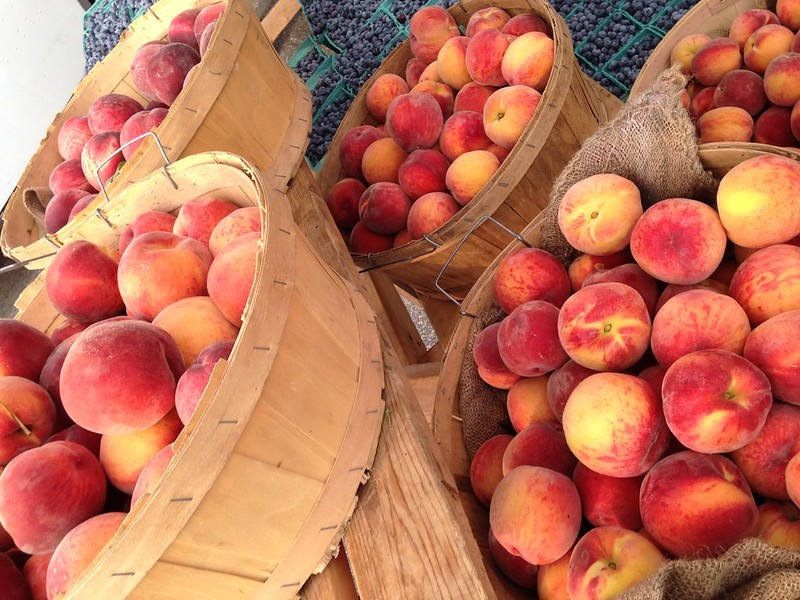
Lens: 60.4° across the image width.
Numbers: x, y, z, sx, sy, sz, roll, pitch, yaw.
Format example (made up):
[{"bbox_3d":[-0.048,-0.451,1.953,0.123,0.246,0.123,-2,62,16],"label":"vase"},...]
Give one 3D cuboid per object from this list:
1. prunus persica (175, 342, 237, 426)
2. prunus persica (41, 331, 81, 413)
[{"bbox_3d":[-0.333,0.138,1.229,0.066,0.125,0.150,9,69,-26],"label":"prunus persica"},{"bbox_3d":[-0.653,0.144,1.315,0.073,0.079,0.092,32,54,12],"label":"prunus persica"}]
